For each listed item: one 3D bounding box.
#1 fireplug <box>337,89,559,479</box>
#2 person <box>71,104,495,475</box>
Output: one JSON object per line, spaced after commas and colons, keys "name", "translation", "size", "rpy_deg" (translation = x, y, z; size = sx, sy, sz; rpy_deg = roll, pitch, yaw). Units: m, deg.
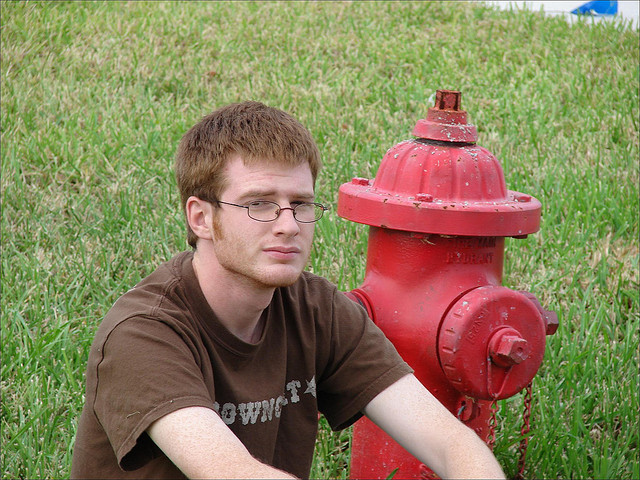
{"name": "fireplug", "translation": [0.557, 0.230, 2.975], "size": [0.944, 1.742, 0.473], "rpy_deg": [6, 12, 19]}
{"name": "person", "translation": [-0.189, 0.227, 2.394], "size": [1.232, 1.382, 0.781], "rpy_deg": [-1, 12, -16]}
